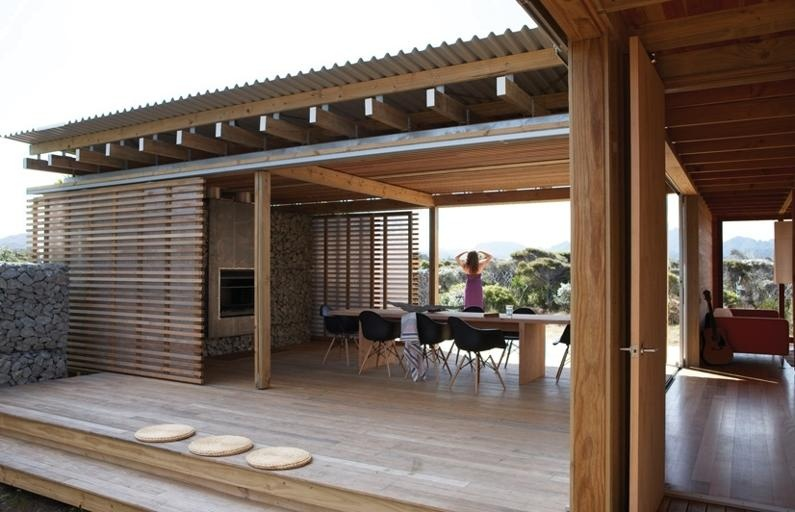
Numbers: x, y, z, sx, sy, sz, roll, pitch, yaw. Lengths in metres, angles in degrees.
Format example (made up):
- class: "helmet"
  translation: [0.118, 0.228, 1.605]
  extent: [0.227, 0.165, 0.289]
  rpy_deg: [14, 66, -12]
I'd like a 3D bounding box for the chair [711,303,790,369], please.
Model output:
- class: "chair"
  translation: [6.509, 1.415, 11.181]
  extent: [1.443, 0.976, 1.834]
  rpy_deg: [-3, -3, 29]
